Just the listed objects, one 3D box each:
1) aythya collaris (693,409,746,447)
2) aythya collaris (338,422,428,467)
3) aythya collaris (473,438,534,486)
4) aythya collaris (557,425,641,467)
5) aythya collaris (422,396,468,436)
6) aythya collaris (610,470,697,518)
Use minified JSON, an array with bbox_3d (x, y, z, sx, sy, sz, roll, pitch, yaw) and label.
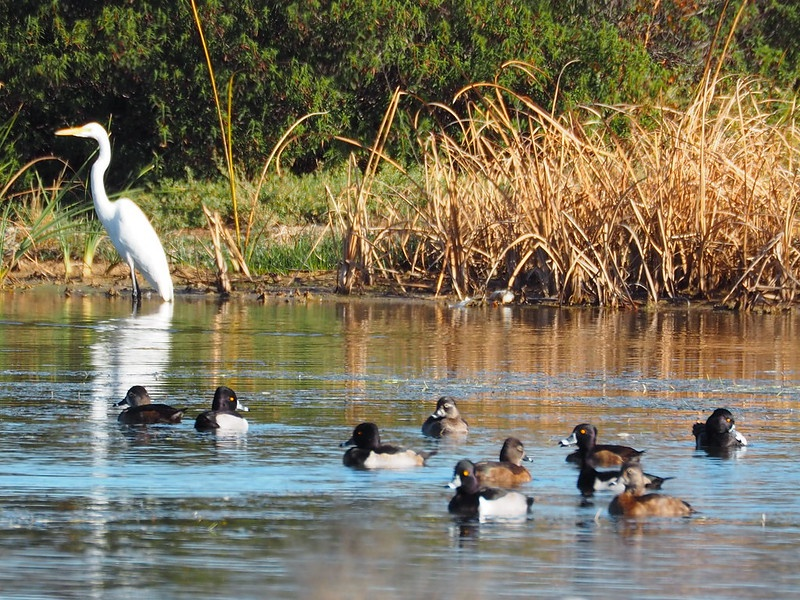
[{"bbox_3d":[2.209,0.905,9.261,0.234,0.239,0.377,-3,0,-24],"label":"aythya collaris"},{"bbox_3d":[-0.084,0.964,8.728,0.584,0.292,0.388,0,-3,-1],"label":"aythya collaris"},{"bbox_3d":[0.850,1.021,8.351,0.361,0.247,0.728,-1,3,12],"label":"aythya collaris"},{"bbox_3d":[1.358,1.018,8.912,0.563,0.332,0.226,4,3,-5],"label":"aythya collaris"},{"bbox_3d":[0.339,0.849,9.539,0.338,0.283,0.322,1,-3,-1],"label":"aythya collaris"},{"bbox_3d":[1.437,1.116,7.662,0.401,0.271,0.452,3,-4,-35],"label":"aythya collaris"}]
